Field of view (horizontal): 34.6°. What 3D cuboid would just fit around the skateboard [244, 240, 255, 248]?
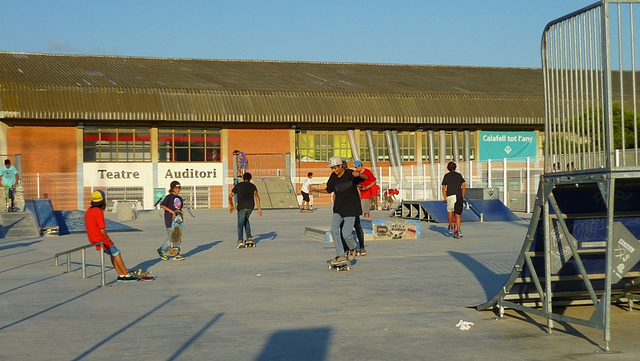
[{"bbox_3d":[-3.148,2.912,46.066,0.573,0.383,0.287,2,-4,-18],"label":"skateboard"}]

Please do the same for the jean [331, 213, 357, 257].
[{"bbox_3d":[0.970,2.163,42.117,1.000,1.757,0.502,-5,3,-24],"label":"jean"}]

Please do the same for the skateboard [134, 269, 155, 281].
[{"bbox_3d":[-7.109,3.781,41.248,0.584,0.258,0.455,5,0,-17],"label":"skateboard"}]

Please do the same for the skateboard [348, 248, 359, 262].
[{"bbox_3d":[1.330,3.087,42.642,0.366,0.319,0.432,5,-13,-17],"label":"skateboard"}]
